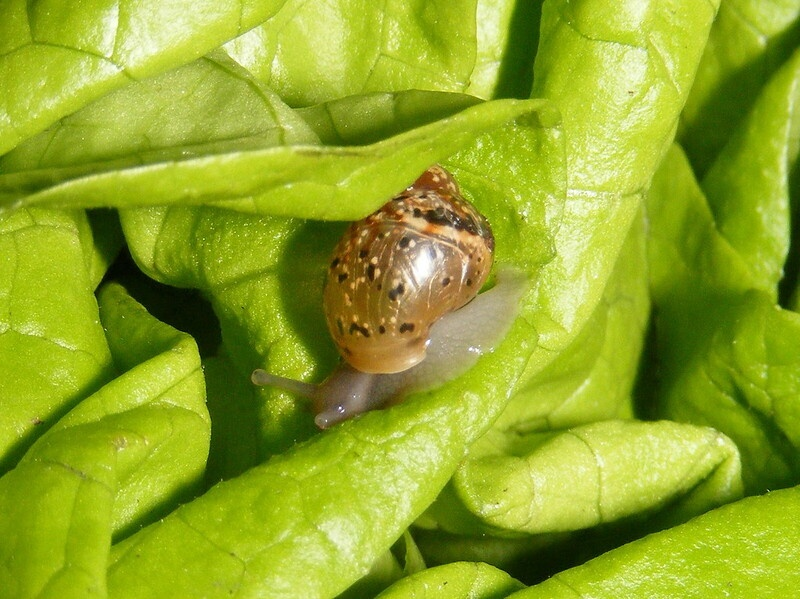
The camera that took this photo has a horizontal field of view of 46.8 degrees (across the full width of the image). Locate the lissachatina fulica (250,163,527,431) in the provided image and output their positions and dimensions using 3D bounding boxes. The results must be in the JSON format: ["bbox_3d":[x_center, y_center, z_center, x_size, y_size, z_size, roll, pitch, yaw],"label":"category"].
[{"bbox_3d":[0.006,0.000,0.790,0.130,0.133,0.260,23,75,32],"label":"lissachatina fulica"}]
